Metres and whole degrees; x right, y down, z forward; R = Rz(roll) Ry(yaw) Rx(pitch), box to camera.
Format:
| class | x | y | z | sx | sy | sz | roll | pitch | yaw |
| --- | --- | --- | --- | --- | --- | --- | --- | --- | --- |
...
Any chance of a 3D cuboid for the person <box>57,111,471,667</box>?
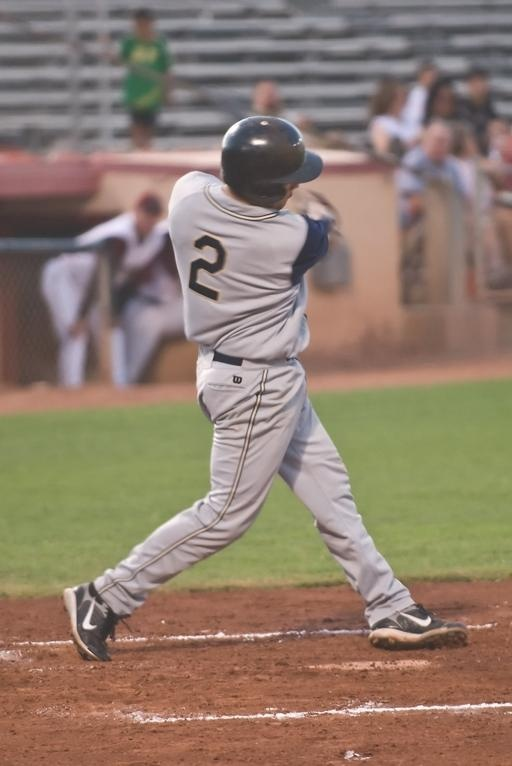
| class | x | y | z | sx | sy | sz | roll | pitch | yaw |
| --- | --- | --- | --- | --- | --- | --- | --- | --- | --- |
| person | -0.007 | 0.039 | 3.634 | 1.124 | 1.647 | 0.307 | -1 | 9 | -11 |

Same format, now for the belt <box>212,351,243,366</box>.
| class | x | y | z | sx | sy | sz | roll | pitch | yaw |
| --- | --- | --- | --- | --- | --- | --- | --- | --- | --- |
| belt | -0.086 | -0.059 | 3.528 | 0.058 | 0.014 | 0.055 | 11 | -6 | -16 |

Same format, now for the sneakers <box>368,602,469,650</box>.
| class | x | y | z | sx | sy | sz | roll | pitch | yaw |
| --- | --- | --- | --- | --- | --- | --- | --- | --- | --- |
| sneakers | 0.484 | 0.752 | 3.802 | 0.318 | 0.148 | 0.121 | -5 | -6 | -4 |

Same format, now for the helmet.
| class | x | y | z | sx | sy | sz | roll | pitch | yaw |
| --- | --- | --- | --- | --- | --- | --- | --- | --- | --- |
| helmet | 0.038 | -0.662 | 3.483 | 0.264 | 0.127 | 0.189 | -9 | 41 | -20 |

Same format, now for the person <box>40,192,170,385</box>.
| class | x | y | z | sx | sy | sz | roll | pitch | yaw |
| --- | --- | --- | --- | --- | --- | --- | --- | --- | --- |
| person | -1.302 | -0.767 | 9.948 | 0.798 | 1.532 | 0.444 | 19 | -12 | -37 |
